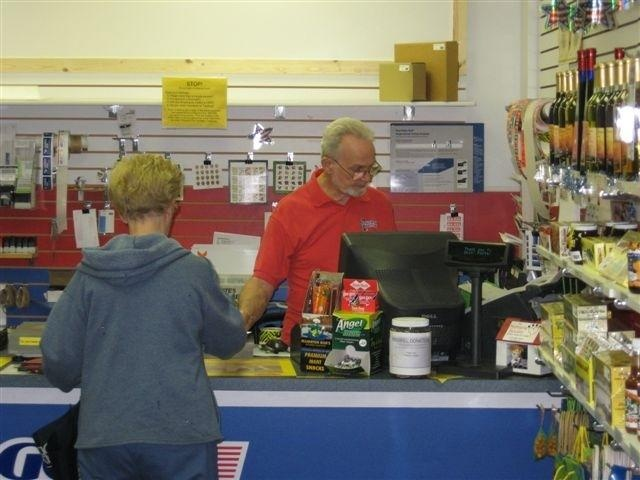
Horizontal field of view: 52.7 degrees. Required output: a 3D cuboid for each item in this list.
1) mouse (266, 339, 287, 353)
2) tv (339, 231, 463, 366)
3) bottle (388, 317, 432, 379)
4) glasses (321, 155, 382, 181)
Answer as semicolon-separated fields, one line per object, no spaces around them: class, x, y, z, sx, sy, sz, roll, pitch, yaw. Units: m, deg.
mouse;-0.217;0.515;3.234;0.070;0.037;0.072;0;5;-23
tv;0.356;0.271;3.111;0.530;0.595;0.560;0;-5;-14
bottle;0.381;0.451;2.777;0.222;0.267;0.230;0;-2;5
glasses;0.203;-0.411;3.630;0.162;0.051;0.171;-5;30;-44
